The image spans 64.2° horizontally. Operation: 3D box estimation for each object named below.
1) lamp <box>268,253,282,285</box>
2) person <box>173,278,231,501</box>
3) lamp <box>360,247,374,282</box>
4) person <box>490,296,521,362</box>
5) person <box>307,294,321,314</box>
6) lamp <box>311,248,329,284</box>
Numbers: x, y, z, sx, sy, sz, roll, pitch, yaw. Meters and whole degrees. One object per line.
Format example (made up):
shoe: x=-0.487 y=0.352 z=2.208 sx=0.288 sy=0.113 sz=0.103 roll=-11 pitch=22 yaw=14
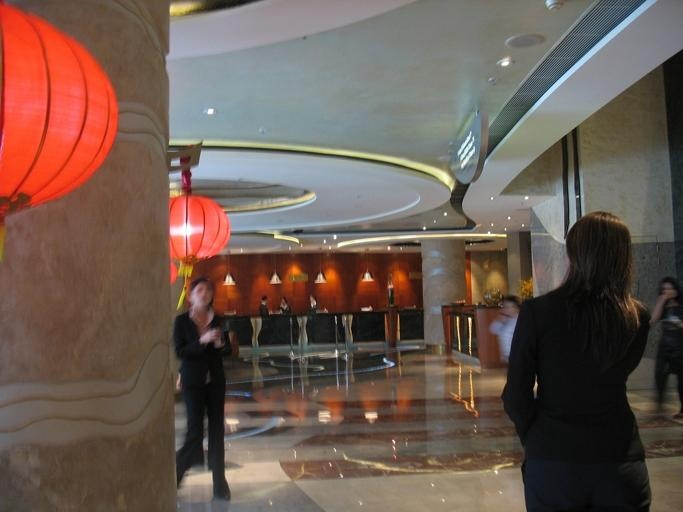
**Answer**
lamp: x=-2.984 y=0.604 z=24.242 sx=0.545 sy=1.373 sz=1.389 roll=-1 pitch=-4 yaw=-8
person: x=-1.121 y=1.078 z=4.325 sx=0.424 sy=1.794 sz=0.540 roll=0 pitch=-4 yaw=-13
lamp: x=1.156 y=0.482 z=24.640 sx=0.622 sy=1.370 sz=1.321 roll=-1 pitch=-4 yaw=3
person: x=2.368 y=1.106 z=8.050 sx=0.542 sy=0.496 sz=1.887 roll=18 pitch=-11 yaw=20
person: x=-1.190 y=2.007 z=23.031 sx=0.293 sy=0.292 sz=0.775 roll=-20 pitch=17 yaw=0
lamp: x=-0.993 y=0.511 z=24.061 sx=0.588 sy=1.410 sz=2.088 roll=-1 pitch=-4 yaw=-2
